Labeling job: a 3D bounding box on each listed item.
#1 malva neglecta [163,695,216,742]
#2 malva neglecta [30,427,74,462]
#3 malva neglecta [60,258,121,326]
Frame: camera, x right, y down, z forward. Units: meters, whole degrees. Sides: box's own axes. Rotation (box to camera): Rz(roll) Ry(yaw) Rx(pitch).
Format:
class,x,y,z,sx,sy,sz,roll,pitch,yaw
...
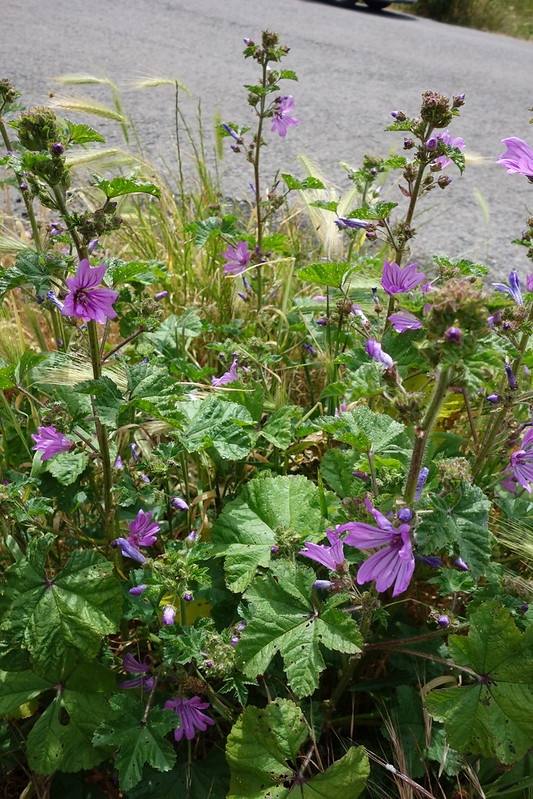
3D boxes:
class,x,y,z,sx,sy,sz,roll,pitch,yaw
malva neglecta,-0.224,0.910,2.174,0.166,0.149,0.070,11,17,-18
malva neglecta,-0.643,0.134,2.255,0.117,0.111,0.052,31,31,8
malva neglecta,-0.491,-0.292,2.008,0.165,0.165,0.055,5,48,-44
